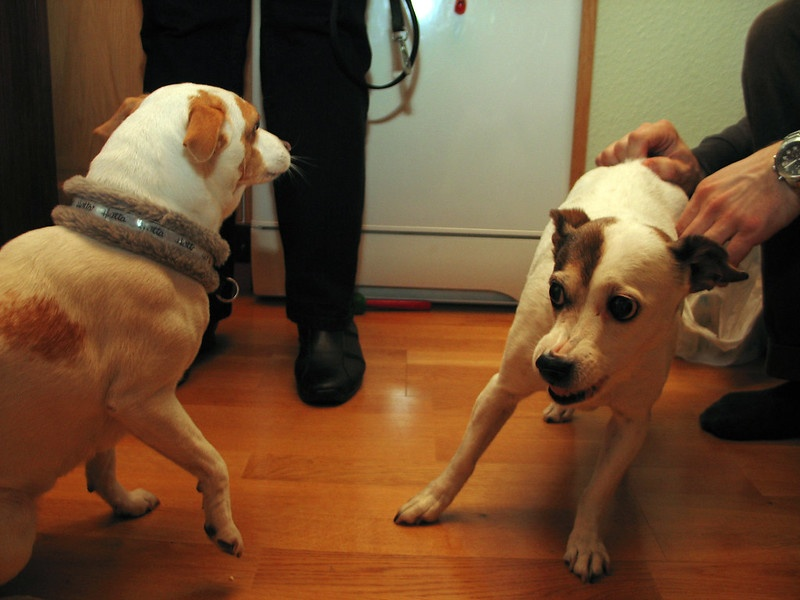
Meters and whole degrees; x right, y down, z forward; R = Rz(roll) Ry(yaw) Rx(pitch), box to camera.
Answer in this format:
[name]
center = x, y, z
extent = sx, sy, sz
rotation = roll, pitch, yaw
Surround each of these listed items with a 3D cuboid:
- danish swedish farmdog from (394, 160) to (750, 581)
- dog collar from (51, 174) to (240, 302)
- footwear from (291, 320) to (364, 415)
[danish swedish farmdog]
center = 0.377, 0.122, 1.516
extent = 0.495, 0.706, 0.608
rotation = 18, 32, 28
[dog collar]
center = -0.473, -0.129, 1.379
extent = 0.267, 0.092, 0.247
rotation = 20, -2, -8
[footwear]
center = -0.187, 0.192, 1.984
extent = 0.122, 0.113, 0.298
rotation = -2, 16, -4
